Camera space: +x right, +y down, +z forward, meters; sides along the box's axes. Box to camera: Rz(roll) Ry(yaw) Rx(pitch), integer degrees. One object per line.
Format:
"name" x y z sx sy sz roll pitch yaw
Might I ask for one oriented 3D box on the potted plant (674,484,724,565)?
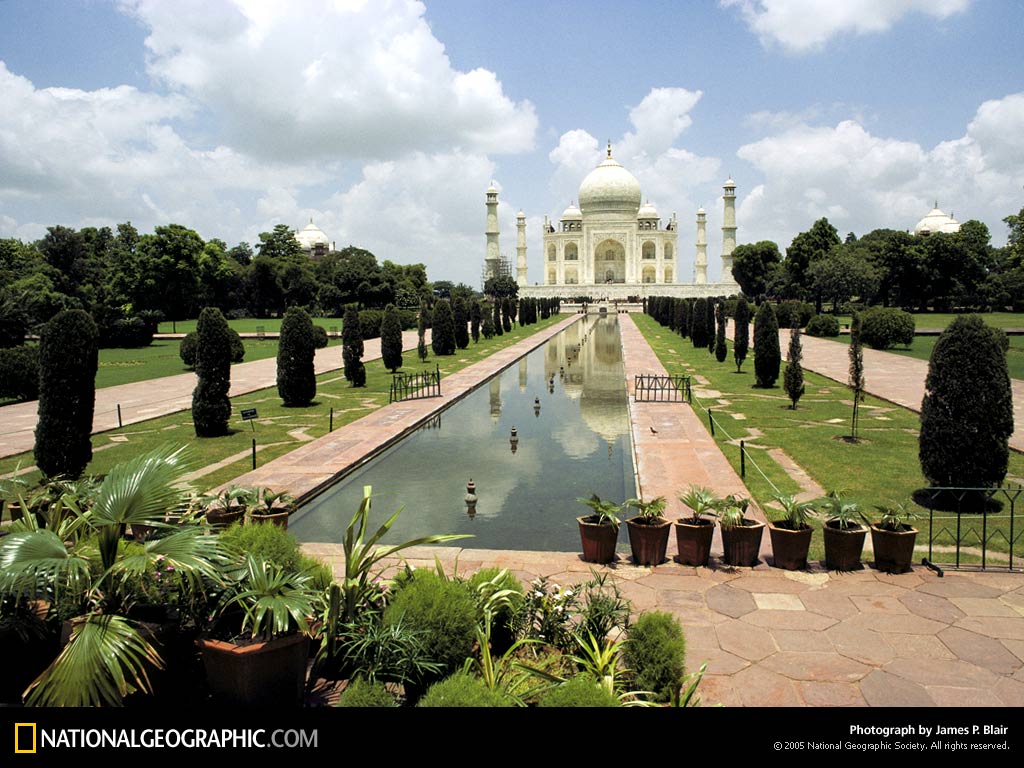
"potted plant" 1.689 1.317 6.604 0.449 0.606 0.415 5 0 5

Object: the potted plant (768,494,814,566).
"potted plant" 2.544 1.342 6.524 0.345 0.599 0.482 2 8 20

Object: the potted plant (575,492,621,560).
"potted plant" 0.805 1.368 6.767 0.403 0.522 0.445 -3 -11 45

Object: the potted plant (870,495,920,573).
"potted plant" 3.371 1.379 6.501 0.436 0.520 0.391 -3 -7 35

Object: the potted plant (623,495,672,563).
"potted plant" 1.277 1.311 6.671 0.367 0.603 0.435 0 8 11

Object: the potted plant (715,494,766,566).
"potted plant" 2.101 1.330 6.565 0.381 0.601 0.542 1 8 16

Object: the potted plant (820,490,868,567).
"potted plant" 2.930 1.335 6.546 0.411 0.587 0.445 -2 -11 45
